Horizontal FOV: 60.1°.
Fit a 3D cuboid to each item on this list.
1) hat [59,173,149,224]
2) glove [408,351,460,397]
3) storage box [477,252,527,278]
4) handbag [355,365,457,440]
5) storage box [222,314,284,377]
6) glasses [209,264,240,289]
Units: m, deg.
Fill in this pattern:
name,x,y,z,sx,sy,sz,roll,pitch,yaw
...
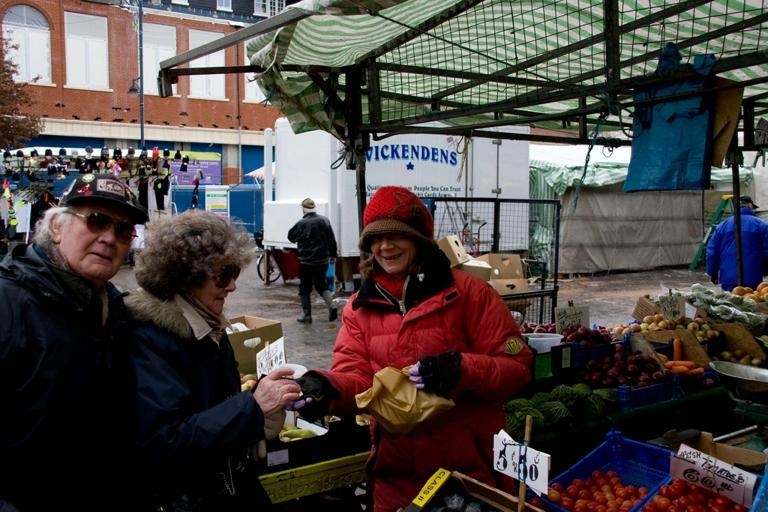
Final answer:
name,x,y,z,sx,sy,sz,roll,pitch,yaw
hat,-1.449,-0.287,3.430,0.325,0.175,0.245,-7,-13,39
glove,0.284,0.632,3.613,0.250,0.199,0.117,2,-5,34
storage box,1.468,0.120,8.191,0.368,0.242,0.382,-2,1,6
handbag,0.084,0.844,3.650,0.416,0.207,0.386,14,-28,-32
storage box,-1.127,0.678,5.464,0.618,0.388,0.619,1,-3,-32
glasses,-0.825,0.107,3.471,0.113,0.038,0.111,7,35,27
